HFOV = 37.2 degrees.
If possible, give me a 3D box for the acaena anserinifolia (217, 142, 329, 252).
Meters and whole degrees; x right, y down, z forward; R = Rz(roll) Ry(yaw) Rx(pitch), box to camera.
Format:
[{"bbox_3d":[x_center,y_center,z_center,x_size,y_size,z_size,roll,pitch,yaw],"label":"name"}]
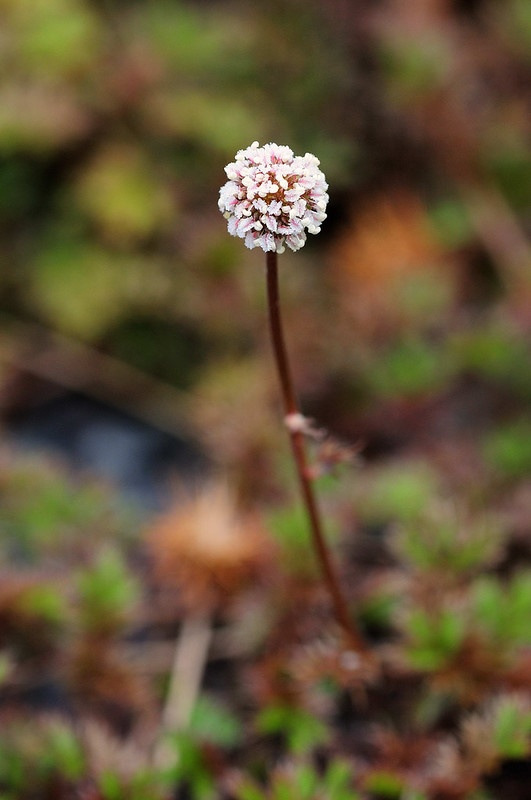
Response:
[{"bbox_3d":[0.004,-0.200,0.826,0.082,0.081,0.044,13,93,16],"label":"acaena anserinifolia"}]
